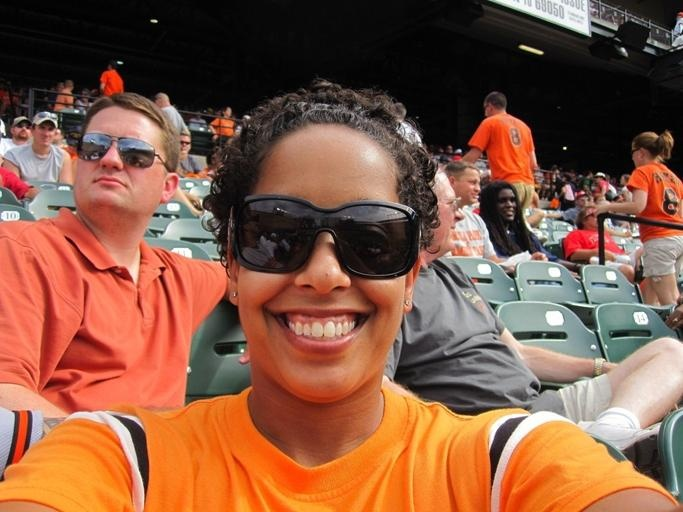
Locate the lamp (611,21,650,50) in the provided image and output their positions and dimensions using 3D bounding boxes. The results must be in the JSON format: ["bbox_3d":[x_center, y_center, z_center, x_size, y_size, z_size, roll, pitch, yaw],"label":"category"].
[{"bbox_3d":[9.096,-6.897,16.716,1.194,0.809,0.326,7,29,-21],"label":"lamp"}]
